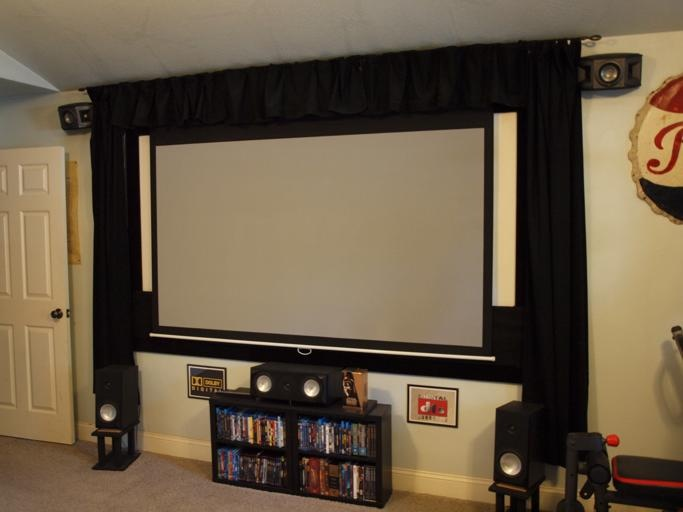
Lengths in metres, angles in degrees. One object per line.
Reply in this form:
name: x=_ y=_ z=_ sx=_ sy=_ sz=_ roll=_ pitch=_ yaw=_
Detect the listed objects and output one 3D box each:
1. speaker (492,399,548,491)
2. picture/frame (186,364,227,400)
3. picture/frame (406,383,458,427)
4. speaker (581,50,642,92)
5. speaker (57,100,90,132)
speaker: x=1.298 y=1.360 z=4.390 sx=0.357 sy=0.544 sz=0.347 roll=4 pitch=14 yaw=21
picture/frame: x=-1.152 y=1.086 z=5.258 sx=0.277 sy=0.236 sz=0.030 roll=3 pitch=6 yaw=15
picture/frame: x=0.734 y=1.172 z=4.772 sx=0.312 sy=0.270 sz=0.012 roll=1 pitch=3 yaw=16
speaker: x=1.917 y=-1.325 z=4.327 sx=0.397 sy=0.311 sz=0.250 roll=2 pitch=8 yaw=17
speaker: x=-2.392 y=-1.252 z=5.455 sx=0.361 sy=0.297 sz=0.207 roll=1 pitch=6 yaw=26
